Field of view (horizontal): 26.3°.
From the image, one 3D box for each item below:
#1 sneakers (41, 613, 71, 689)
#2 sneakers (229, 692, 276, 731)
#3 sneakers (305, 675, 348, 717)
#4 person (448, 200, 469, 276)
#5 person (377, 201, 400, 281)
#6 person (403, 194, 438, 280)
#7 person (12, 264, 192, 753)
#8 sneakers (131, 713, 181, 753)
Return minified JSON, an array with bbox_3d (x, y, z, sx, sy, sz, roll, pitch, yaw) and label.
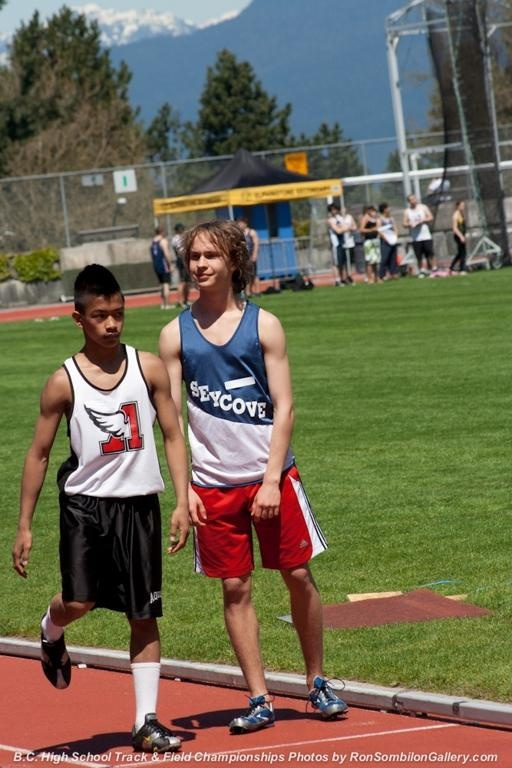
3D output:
[{"bbox_3d":[-0.705,0.929,3.825,0.098,0.292,0.116,-9,19,-14],"label":"sneakers"},{"bbox_3d":[-0.008,1.067,3.561,0.067,0.103,0.199,-2,-6,31],"label":"sneakers"},{"bbox_3d":[0.229,1.033,3.648,0.071,0.080,0.177,-17,6,-15],"label":"sneakers"},{"bbox_3d":[3.839,-2.814,21.174,0.384,1.400,1.101,-4,11,11],"label":"person"},{"bbox_3d":[2.582,-2.825,21.885,0.391,1.562,1.638,-5,10,7],"label":"person"},{"bbox_3d":[3.140,-2.876,21.328,0.532,1.631,1.349,-4,11,10],"label":"person"},{"bbox_3d":[-0.518,0.363,3.559,0.598,1.459,0.436,-7,11,-4],"label":"person"},{"bbox_3d":[-0.310,1.070,3.378,0.076,0.096,0.193,-1,-3,-35],"label":"sneakers"}]
